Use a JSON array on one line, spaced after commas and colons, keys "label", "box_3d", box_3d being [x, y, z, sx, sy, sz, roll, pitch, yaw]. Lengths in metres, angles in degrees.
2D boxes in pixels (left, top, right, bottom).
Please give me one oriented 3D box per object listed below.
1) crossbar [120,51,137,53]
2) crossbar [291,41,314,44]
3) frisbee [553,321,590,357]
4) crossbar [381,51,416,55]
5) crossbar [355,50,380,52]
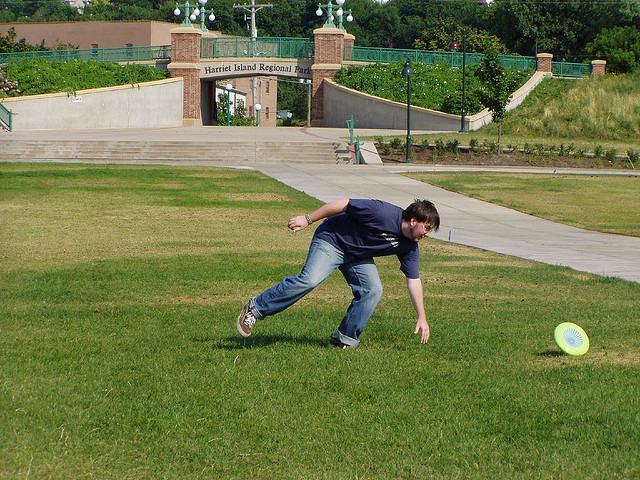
[{"label": "crossbar", "box_3d": [-11.900, -11.710, 63.478, 0.750, 0.110, 0.053, 2, 8, -7]}, {"label": "crossbar", "box_3d": [-1.110, -12.139, 62.622, 1.343, 0.122, 0.353, 3, 9, -1]}, {"label": "frisbee", "box_3d": [4.518, 1.768, 18.444, 0.586, 0.595, 0.136, -11, -17, -23]}, {"label": "crossbar", "box_3d": [4.779, -11.471, 62.513, 2.088, 0.119, 0.773, 4, 10, 6]}, {"label": "crossbar", "box_3d": [2.780, -11.466, 61.876, 1.369, 0.130, 0.355, 3, 9, -2]}]
